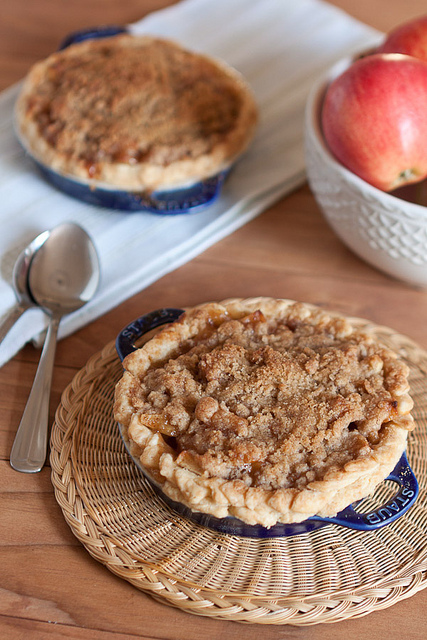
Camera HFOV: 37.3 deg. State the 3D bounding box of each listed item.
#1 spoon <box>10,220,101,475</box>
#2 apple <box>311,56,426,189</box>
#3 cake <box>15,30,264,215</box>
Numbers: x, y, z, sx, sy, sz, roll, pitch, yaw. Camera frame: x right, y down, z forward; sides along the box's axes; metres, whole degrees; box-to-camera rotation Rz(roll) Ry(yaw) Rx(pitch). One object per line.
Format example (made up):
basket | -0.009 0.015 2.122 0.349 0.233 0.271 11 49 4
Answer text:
spoon | -0.149 0.014 0.627 0.068 0.037 0.250 5 51 -4
apple | 0.150 -0.184 0.631 0.143 0.113 0.112 2 35 23
cake | -0.069 -0.190 0.607 0.199 0.066 0.232 -23 66 -15
